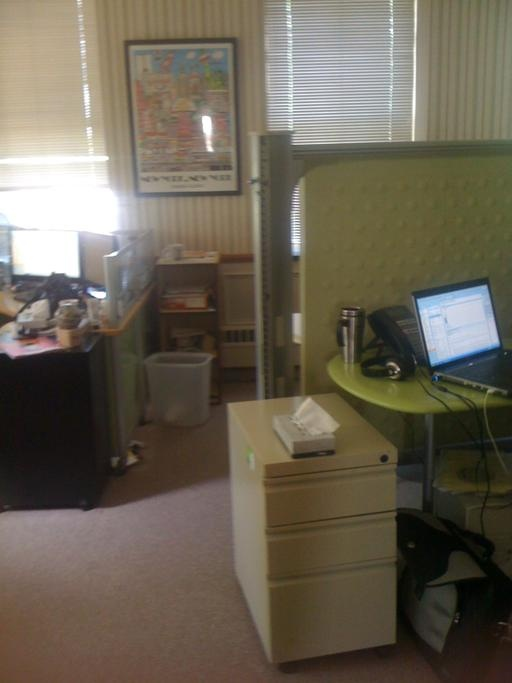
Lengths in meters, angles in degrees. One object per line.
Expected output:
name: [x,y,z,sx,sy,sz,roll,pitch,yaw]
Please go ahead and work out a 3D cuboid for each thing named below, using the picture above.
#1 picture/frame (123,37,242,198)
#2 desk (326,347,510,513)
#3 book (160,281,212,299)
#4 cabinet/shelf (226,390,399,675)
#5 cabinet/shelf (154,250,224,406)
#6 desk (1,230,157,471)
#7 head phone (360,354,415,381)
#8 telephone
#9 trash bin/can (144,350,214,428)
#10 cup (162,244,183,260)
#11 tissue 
picture/frame: [-0.496,-1.549,3.725,0.884,1.213,0.046,-2,14,-3]
desk: [0.444,0.213,1.729,0.457,0.341,0.474,-2,21,1]
book: [-0.469,-0.349,3.695,0.323,0.093,0.209,-4,14,-5]
cabinet/shelf: [0.160,0.460,1.589,0.336,0.547,0.490,-5,16,-7]
cabinet/shelf: [-0.428,-0.272,3.741,0.329,0.240,0.757,-4,44,-3]
desk: [-0.860,0.037,2.626,0.279,0.891,0.907,-1,34,-3]
head phone: [0.406,0.079,1.712,0.097,0.050,0.093,-2,14,4]
telephone: [0.443,-0.001,1.768,0.167,0.236,0.222,-6,6,-44]
trash bin/can: [-0.394,0.255,3.334,0.472,0.475,0.387,-1,9,-1]
cup: [-0.556,-0.590,3.718,0.152,0.119,0.102,2,20,5]
tissue : [0.128,0.233,1.372,0.090,0.063,0.193,-2,13,-7]
